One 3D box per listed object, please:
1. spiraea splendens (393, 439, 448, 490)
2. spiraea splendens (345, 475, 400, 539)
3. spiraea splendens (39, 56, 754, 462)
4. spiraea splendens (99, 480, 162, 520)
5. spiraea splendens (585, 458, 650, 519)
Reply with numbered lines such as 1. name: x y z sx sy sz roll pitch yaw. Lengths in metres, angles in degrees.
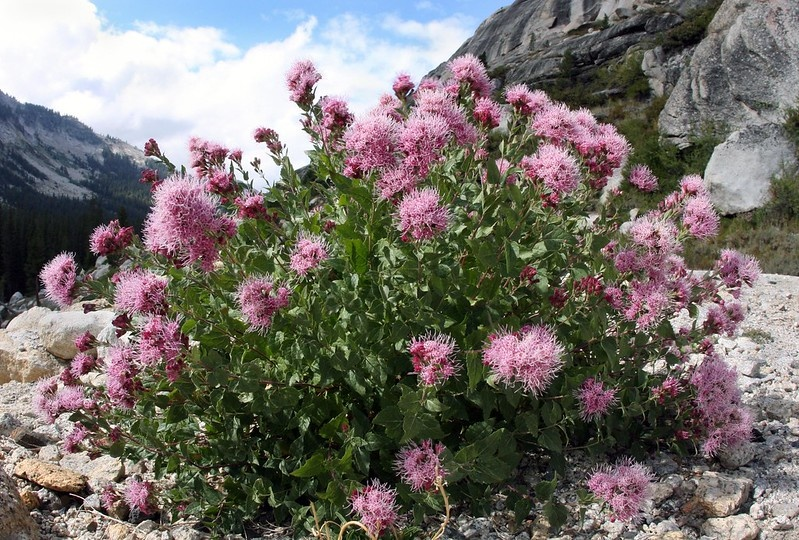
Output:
1. spiraea splendens: 0.226 1.882 6.267 0.472 0.529 0.461 -17 59 -8
2. spiraea splendens: -0.197 2.303 6.289 0.533 0.544 0.549 0 39 4
3. spiraea splendens: -0.159 0.243 7.211 5.961 4.813 3.460 1 88 32
4. spiraea splendens: -2.889 2.464 7.154 0.516 0.308 0.535 -7 103 2
5. spiraea splendens: 2.201 2.265 6.634 0.604 0.420 0.580 3 47 15
